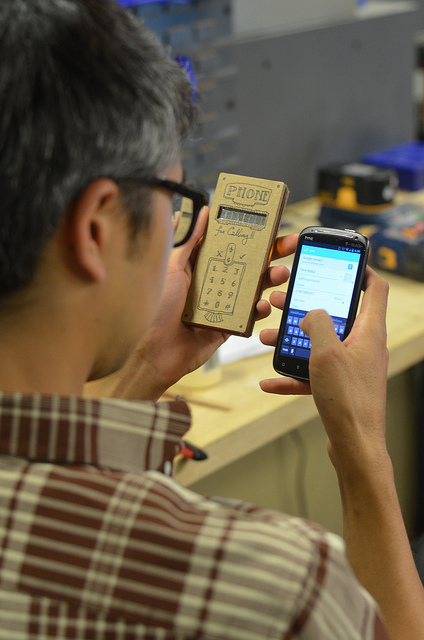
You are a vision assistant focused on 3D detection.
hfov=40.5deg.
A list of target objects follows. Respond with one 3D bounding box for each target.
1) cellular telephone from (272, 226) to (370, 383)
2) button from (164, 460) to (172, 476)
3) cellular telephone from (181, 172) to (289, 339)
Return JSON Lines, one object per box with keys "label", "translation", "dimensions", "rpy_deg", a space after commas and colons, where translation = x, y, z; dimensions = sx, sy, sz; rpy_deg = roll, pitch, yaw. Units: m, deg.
{"label": "cellular telephone", "translation": [0.141, -0.004, 0.739], "dimensions": [0.109, 0.203, 0.034], "rpy_deg": [15, 0, 34]}
{"label": "button", "translation": [-0.032, 0.107, 0.419], "dimensions": [0.003, 0.010, 0.007], "rpy_deg": [9, 7, 26]}
{"label": "cellular telephone", "translation": [0.028, -0.083, 0.737], "dimensions": [0.101, 0.180, 0.103], "rpy_deg": [12, 26, 19]}
